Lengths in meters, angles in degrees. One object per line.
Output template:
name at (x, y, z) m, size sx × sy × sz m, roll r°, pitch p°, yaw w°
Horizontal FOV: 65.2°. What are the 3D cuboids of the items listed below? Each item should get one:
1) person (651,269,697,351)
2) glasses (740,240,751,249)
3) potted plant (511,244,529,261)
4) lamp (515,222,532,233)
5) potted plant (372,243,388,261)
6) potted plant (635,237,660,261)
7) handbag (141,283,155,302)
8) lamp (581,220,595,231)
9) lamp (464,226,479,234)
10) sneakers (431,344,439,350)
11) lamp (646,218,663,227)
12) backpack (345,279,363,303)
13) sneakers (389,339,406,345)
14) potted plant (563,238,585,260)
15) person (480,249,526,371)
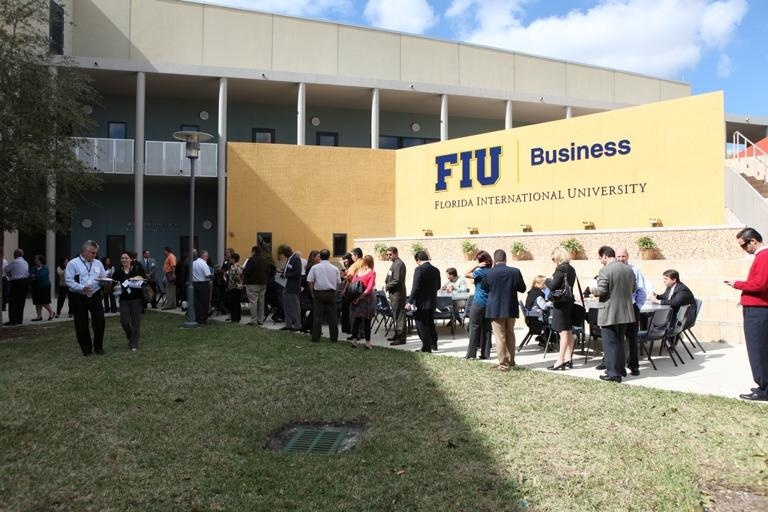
person at (6.800, 1.198, 14.024) m, size 0.825 × 1.764 × 0.842 m, roll -6°, pitch 4°, yaw -33°
glasses at (6.859, -0.237, 11.449) m, size 0.115 × 0.091 × 0.165 m, roll 2°, pitch 11°, yaw 13°
potted plant at (4.377, -0.135, 19.255) m, size 0.504 × 0.683 × 0.496 m, roll -2°, pitch 1°, yaw -37°
lamp at (5.006, -0.973, 21.218) m, size 0.385 × 0.417 × 0.257 m, roll -1°, pitch -7°, yaw 16°
potted plant at (-0.134, -0.170, 22.622) m, size 0.560 × 0.643 × 0.557 m, roll 0°, pitch -8°, yaw 4°
potted plant at (7.639, -0.214, 17.430) m, size 0.557 × 0.823 × 0.715 m, roll 0°, pitch 1°, yaw 34°
handbag at (-5.448, 0.819, 13.857) m, size 0.208 × 0.464 × 0.556 m, roll -1°, pitch -2°, yaw -13°
lamp at (6.785, -1.051, 19.947) m, size 0.424 × 0.285 × 0.267 m, roll -2°, pitch -2°, yaw 19°
lamp at (3.248, -0.984, 22.410) m, size 0.448 × 0.473 × 0.252 m, roll 2°, pitch 3°, yaw 37°
sneakers at (1.212, 2.193, 14.442) m, size 0.106 × 0.110 × 0.145 m, roll 1°, pitch -11°, yaw -6°
lamp at (8.484, -1.052, 18.878) m, size 0.357 × 0.292 × 0.293 m, roll 0°, pitch -1°, yaw -36°
backpack at (-0.715, 0.829, 14.435) m, size 0.180 × 0.534 × 0.512 m, roll 0°, pitch -6°, yaw -38°
sneakers at (0.351, 2.107, 14.969) m, size 0.352 × 0.157 × 0.148 m, roll 4°, pitch -2°, yaw -3°
potted plant at (5.579, -0.204, 17.657) m, size 0.550 × 0.632 × 0.488 m, roll 3°, pitch -5°, yaw -8°
person at (2.534, 1.099, 12.740) m, size 0.789 × 2.523 × 0.612 m, roll 0°, pitch -2°, yaw -28°
